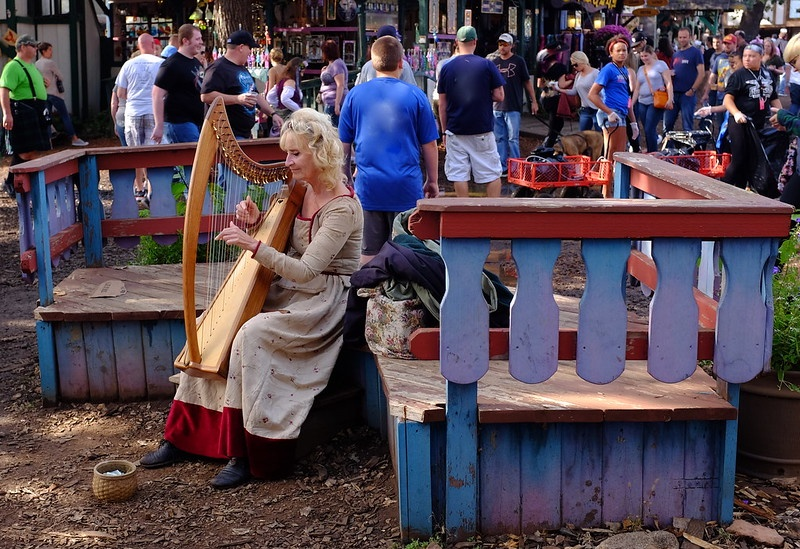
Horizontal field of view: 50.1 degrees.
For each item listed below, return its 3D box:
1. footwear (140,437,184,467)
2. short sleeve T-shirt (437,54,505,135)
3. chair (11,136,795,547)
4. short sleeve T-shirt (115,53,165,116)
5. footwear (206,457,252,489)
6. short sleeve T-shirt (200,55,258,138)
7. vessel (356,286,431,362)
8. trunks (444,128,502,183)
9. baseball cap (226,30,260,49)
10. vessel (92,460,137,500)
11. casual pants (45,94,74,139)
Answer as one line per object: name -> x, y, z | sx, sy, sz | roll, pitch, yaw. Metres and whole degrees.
footwear -> -1.474, 1.099, 5.321 | 0.282, 0.136, 0.130 | 0, 2, -12
short sleeve T-shirt -> 0.673, -1.828, 8.841 | 0.726, 0.848, 0.445 | -1, 5, 1
chair -> 0.290, 0.401, 4.853 | 3.306, 1.774, 1.199 | 6, 15, 24
short sleeve T-shirt -> -3.072, -2.246, 10.371 | 0.721, 0.778, 0.399 | 4, 7, 1
footwear -> -1.005, 1.171, 5.060 | 0.109, 0.123, 0.304 | 9, 10, 28
short sleeve T-shirt -> -1.593, -1.686, 8.263 | 0.392, 0.738, 0.703 | 5, 12, 28
vessel -> -0.064, 0.269, 5.092 | 0.302, 0.376, 0.370 | -9, 15, -43
trunks -> 0.754, -1.262, 8.941 | 0.621, 0.619, 0.338 | 4, 21, 21
baseball cap -> -1.495, -2.210, 8.125 | 0.273, 0.161, 0.189 | -10, 25, -28
vessel -> -1.648, 1.189, 4.959 | 0.217, 0.160, 0.227 | 5, 7, 8
casual pants -> -5.578, -2.620, 13.945 | 0.294, 0.879, 0.213 | 4, 30, 15
